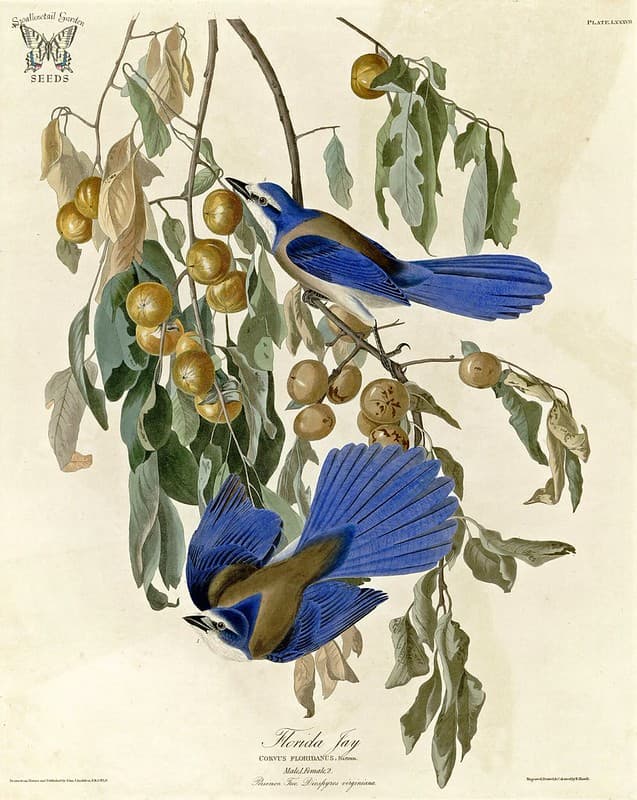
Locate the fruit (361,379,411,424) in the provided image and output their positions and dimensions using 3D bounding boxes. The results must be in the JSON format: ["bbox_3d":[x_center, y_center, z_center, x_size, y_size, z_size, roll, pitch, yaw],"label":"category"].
[{"bbox_3d":[0.082,0.009,2.017,0.060,0.052,0.074,12,-31,4],"label":"fruit"}]

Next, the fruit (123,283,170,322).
[{"bbox_3d":[-0.213,-0.111,2.005,0.040,0.055,0.028,11,3,13],"label":"fruit"}]

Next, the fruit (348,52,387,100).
[{"bbox_3d":[0.063,-0.415,2.110,0.050,0.053,0.045,6,-30,13],"label":"fruit"}]

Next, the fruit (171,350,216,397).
[{"bbox_3d":[-0.147,-0.025,1.992,0.041,0.068,0.048,13,-2,-5],"label":"fruit"}]

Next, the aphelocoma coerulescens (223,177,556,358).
[{"bbox_3d":[0.078,-0.138,2.028,0.397,0.230,0.162,5,-16,2],"label":"aphelocoma coerulescens"}]

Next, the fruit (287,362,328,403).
[{"bbox_3d":[-0.015,-0.016,1.990,0.036,0.059,0.030,4,-7,26],"label":"fruit"}]
